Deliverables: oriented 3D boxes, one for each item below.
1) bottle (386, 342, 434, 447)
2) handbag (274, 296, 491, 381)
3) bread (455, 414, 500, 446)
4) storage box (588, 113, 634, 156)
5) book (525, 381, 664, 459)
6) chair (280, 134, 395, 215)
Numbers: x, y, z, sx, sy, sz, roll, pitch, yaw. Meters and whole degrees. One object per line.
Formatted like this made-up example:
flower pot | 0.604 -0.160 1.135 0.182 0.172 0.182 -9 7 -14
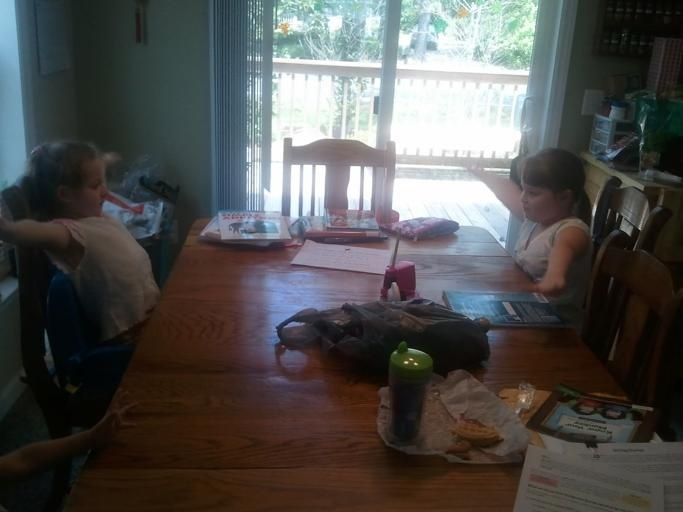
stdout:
bottle | 0.139 0.278 1.067 0.082 0.205 0.067 -4 17 -16
handbag | 0.123 0.189 1.320 0.351 0.117 0.251 1 4 -11
bread | 0.281 0.368 1.086 0.057 0.026 0.049 17 19 20
storage box | 1.737 -0.768 3.336 0.154 0.256 0.274 -1 21 1
book | 0.546 0.367 1.123 0.244 0.030 0.249 12 20 32
chair | -0.011 -0.380 2.514 0.522 0.389 0.591 2 17 4
